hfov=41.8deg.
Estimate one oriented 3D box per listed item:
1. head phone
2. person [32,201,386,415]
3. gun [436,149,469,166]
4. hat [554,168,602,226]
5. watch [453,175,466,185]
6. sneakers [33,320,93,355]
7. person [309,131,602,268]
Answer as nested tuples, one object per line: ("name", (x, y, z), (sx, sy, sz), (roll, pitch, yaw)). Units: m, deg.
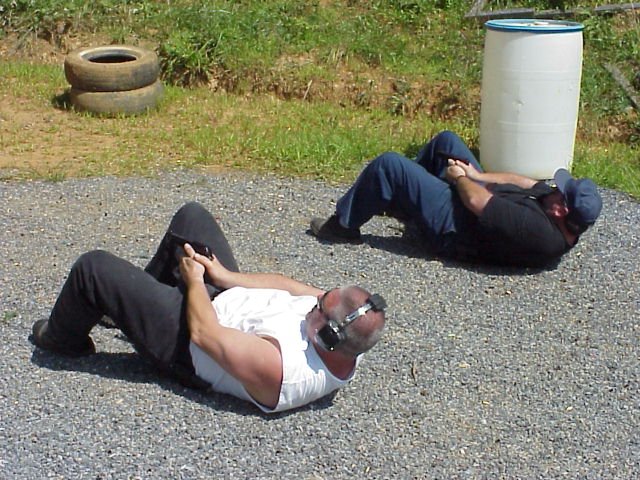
("head phone", (0.189, 0.547, 5.444), (0.453, 0.383, 0.196), (0, 30, 1))
("person", (-0.574, 0.595, 6.077), (2.302, 1.115, 1.208), (24, 13, 13))
("gun", (1.218, -0.775, 7.795), (0.277, 0.125, 0.072), (25, 66, 43))
("hat", (2.195, -0.345, 7.086), (0.325, 0.462, 0.256), (-20, 0, -30))
("watch", (1.220, -0.533, 7.348), (0.087, 0.023, 0.085), (-22, 18, -29))
("sneakers", (-1.907, 0.740, 6.085), (0.422, 0.149, 0.234), (22, 24, 1))
("person", (1.211, -0.291, 7.607), (2.263, 0.850, 1.139), (17, 22, 21))
